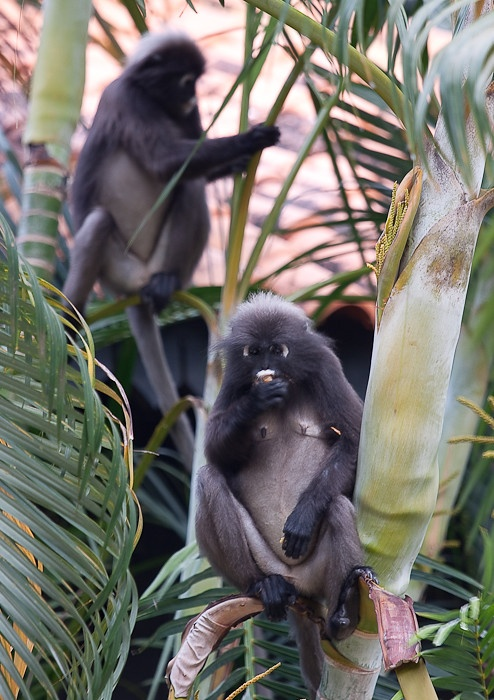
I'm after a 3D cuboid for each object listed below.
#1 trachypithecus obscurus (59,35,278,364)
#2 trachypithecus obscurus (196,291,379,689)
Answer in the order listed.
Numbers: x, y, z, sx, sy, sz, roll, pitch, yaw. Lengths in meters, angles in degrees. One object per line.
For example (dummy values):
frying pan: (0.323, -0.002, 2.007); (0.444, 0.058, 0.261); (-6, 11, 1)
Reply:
trachypithecus obscurus: (-0.219, -0.379, 1.904); (0.308, 0.589, 0.354); (7, 16, -4)
trachypithecus obscurus: (0.090, 0.222, 1.241); (0.193, 0.593, 0.246); (-3, 33, 6)
